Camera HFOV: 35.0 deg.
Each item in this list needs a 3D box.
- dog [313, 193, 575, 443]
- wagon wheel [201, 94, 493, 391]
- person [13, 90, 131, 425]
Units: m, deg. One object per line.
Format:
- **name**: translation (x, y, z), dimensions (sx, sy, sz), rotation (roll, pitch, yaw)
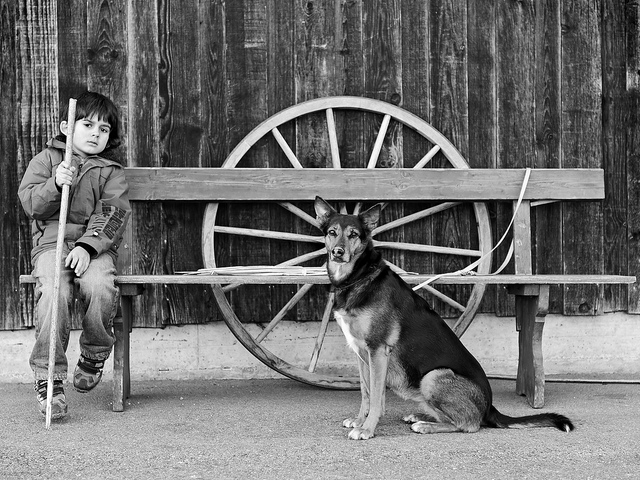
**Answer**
- **dog**: translation (0.746, 0.557, 6.626), dimensions (1.723, 1.420, 0.659), rotation (5, 0, -6)
- **wagon wheel**: translation (0.087, 0.027, 7.301), dimensions (2.102, 2.187, 0.143), rotation (0, 4, -5)
- **person**: translation (-1.594, 0.078, 6.753), dimensions (0.706, 2.026, 0.966), rotation (-4, 13, -16)
